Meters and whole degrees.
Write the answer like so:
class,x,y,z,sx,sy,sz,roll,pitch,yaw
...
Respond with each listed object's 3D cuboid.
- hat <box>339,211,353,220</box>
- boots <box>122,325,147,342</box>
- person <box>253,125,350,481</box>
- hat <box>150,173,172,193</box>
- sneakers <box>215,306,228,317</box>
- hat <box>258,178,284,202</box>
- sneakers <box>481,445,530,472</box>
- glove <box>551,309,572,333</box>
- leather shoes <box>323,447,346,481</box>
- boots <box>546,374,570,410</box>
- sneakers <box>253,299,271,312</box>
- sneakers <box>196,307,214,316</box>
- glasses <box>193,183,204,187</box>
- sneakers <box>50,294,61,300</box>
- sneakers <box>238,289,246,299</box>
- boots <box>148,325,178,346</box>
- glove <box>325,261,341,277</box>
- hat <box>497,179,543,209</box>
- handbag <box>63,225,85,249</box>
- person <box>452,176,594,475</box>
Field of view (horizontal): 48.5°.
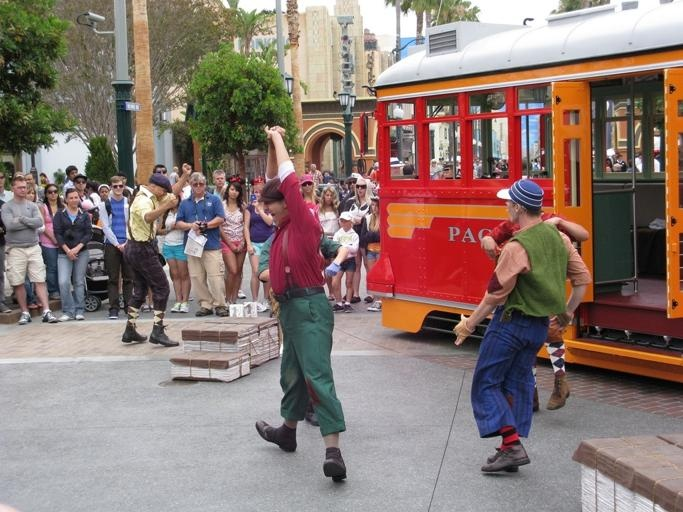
class,x,y,z,sx,sy,sz,roll,pitch,yaw
hat,0.091,-0.685,12.849,0.193,0.145,0.318,10,-5,8
boots,-3.020,1.107,10.947,0.357,0.297,0.236,-4,8,-21
person,-0.323,0.377,6.382,0.458,2.894,1.089,-6,9,-31
hat,-2.670,-1.077,11.148,0.299,0.165,0.209,19,6,-28
sneakers,-2.015,0.921,12.670,0.101,0.130,0.300,-1,-5,-32
hat,-0.590,-0.553,6.392,0.210,0.110,0.155,-19,12,-41
sneakers,1.362,1.664,6.211,0.509,0.250,0.175,-5,-2,19
glove,2.060,0.593,6.951,0.181,0.151,0.436,-5,-10,-9
leather shoes,-0.055,1.702,6.201,0.193,0.316,0.243,-1,8,-1
boots,2.141,1.300,7.429,0.137,0.291,0.411,3,22,37
sneakers,-1.393,0.859,13.039,0.174,0.188,0.435,-1,0,-38
sneakers,-2.341,0.947,12.849,0.112,0.133,0.308,-2,-6,28
glasses,-2.368,-1.156,12.429,0.154,0.060,0.089,-3,8,-9
sneakers,-5.338,0.754,13.981,0.236,0.103,0.087,-5,-1,32
sneakers,-1.928,0.749,14.545,0.094,0.122,0.283,-2,-1,-19
boots,-2.543,1.104,10.730,0.406,0.336,0.250,-3,8,-15
glove,-0.093,0.111,6.642,0.088,0.119,0.250,10,-3,10
hat,1.507,-0.506,6.338,0.247,0.167,0.323,-17,37,-41
handbag,-4.571,-0.314,12.787,0.348,0.464,0.249,1,-10,-12
person,1.593,0.571,6.429,1.192,2.417,0.608,-9,10,-43
